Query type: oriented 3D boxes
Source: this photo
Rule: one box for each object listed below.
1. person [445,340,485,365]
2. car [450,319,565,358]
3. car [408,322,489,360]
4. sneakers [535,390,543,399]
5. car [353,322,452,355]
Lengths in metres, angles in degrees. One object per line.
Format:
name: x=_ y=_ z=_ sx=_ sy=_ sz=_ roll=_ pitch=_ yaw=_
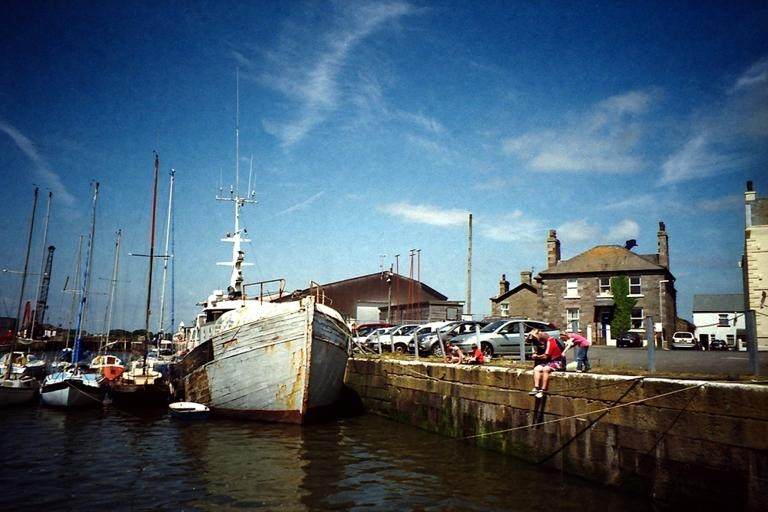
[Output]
person: x=2.857 y=3.418 z=19.825 sx=1.294 sy=0.567 sz=0.880 roll=3 pitch=-11 yaw=-3
car: x=4.684 y=3.147 z=21.681 sx=3.960 sy=1.254 sz=1.677 roll=2 pitch=-9 yaw=-3
car: x=3.348 y=3.752 z=25.249 sx=3.541 sy=1.128 sz=1.596 roll=2 pitch=-10 yaw=-13
sneakers: x=4.207 y=3.769 z=15.165 sx=0.143 sy=0.156 sz=0.377 roll=-4 pitch=-26 yaw=14
car: x=0.754 y=4.070 z=27.957 sx=4.439 sy=1.306 sz=1.919 roll=3 pitch=-10 yaw=-15
